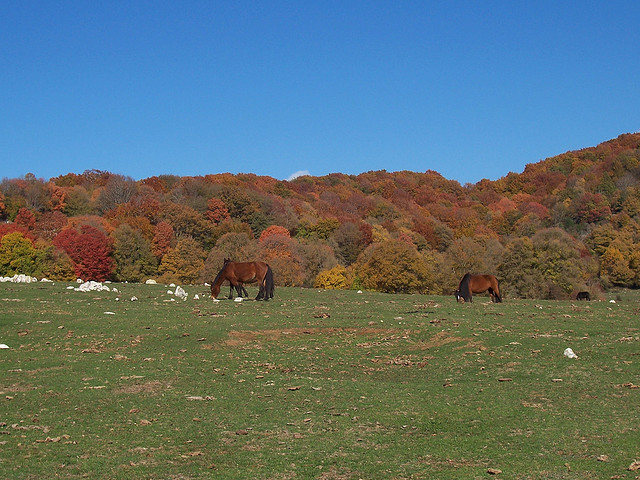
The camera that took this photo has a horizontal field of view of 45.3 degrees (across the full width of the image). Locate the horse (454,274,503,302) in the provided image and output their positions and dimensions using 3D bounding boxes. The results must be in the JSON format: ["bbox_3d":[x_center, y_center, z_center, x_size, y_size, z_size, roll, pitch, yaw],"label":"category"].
[{"bbox_3d":[9.122,2.859,44.271,2.568,1.660,1.421,1,11,-3],"label":"horse"}]

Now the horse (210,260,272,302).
[{"bbox_3d":[-4.429,2.339,42.873,3.561,2.247,0.935,-4,-2,-7],"label":"horse"}]
